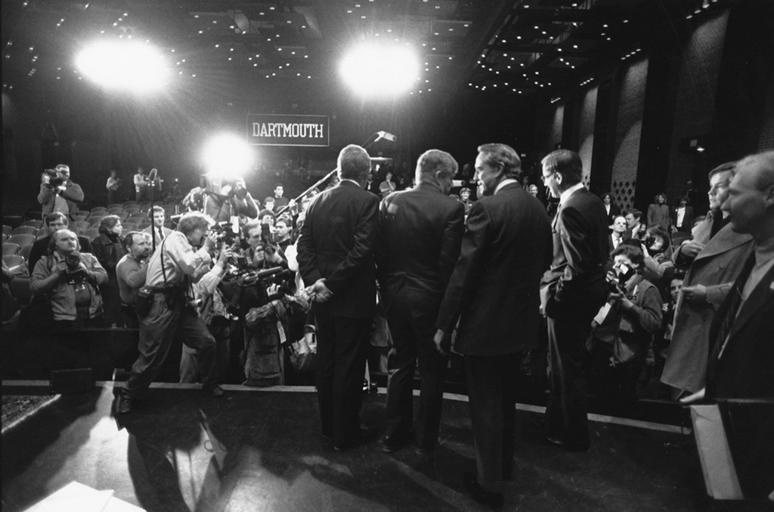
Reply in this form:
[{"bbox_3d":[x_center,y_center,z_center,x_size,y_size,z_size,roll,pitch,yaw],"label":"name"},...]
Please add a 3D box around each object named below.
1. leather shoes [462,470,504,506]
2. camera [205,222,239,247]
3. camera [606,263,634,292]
[{"bbox_3d":[0.856,2.140,5.269,0.150,0.233,0.431,-1,2,-37],"label":"leather shoes"},{"bbox_3d":[-2.109,-0.292,7.368,0.300,0.161,0.403,4,-2,4],"label":"camera"},{"bbox_3d":[2.527,0.241,6.264,0.373,0.367,0.282,0,-10,24],"label":"camera"}]
